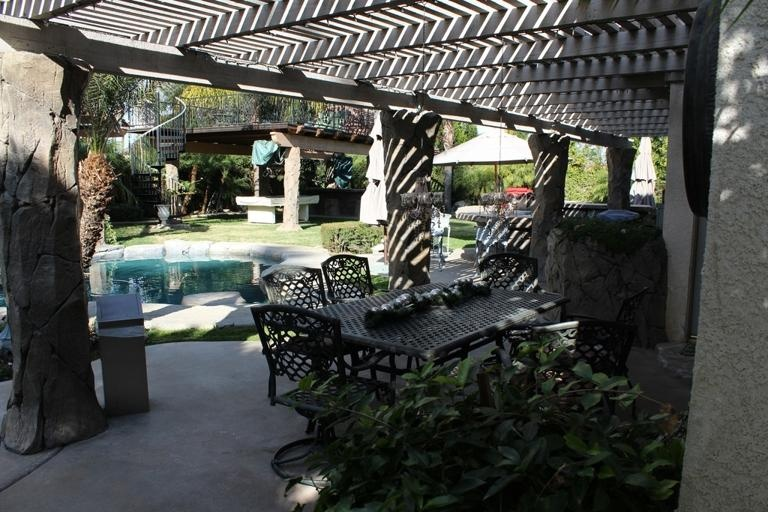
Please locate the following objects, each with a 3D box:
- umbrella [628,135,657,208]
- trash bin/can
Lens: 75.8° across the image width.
[{"bbox_3d":[8.173,-2.719,15.779,0.681,2.106,1.848,4,11,26],"label":"umbrella"},{"bbox_3d":[-2.060,0.825,3.924,0.315,0.831,0.283,-6,11,-26],"label":"trash bin/can"}]
